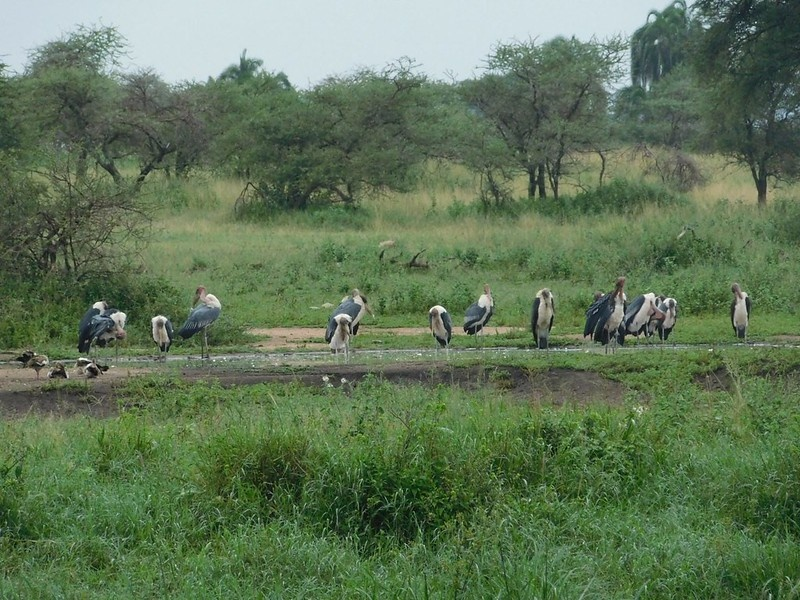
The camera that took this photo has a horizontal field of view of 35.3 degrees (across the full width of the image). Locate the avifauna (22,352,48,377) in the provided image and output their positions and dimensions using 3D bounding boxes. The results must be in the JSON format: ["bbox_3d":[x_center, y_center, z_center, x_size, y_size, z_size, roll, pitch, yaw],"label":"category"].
[{"bbox_3d":[-8.533,1.526,29.365,0.551,0.564,1.207,0,1,-18],"label":"avifauna"}]

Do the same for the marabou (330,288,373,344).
[{"bbox_3d":[-1.356,0.487,31.503,0.531,1.017,2.211,9,18,27],"label":"marabou"}]

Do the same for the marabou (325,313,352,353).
[{"bbox_3d":[-1.476,0.861,30.563,0.584,1.011,1.084,1,1,-2],"label":"marabou"}]

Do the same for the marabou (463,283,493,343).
[{"bbox_3d":[2.019,0.297,32.352,0.731,1.356,1.429,1,1,3],"label":"marabou"}]

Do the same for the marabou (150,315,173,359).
[{"bbox_3d":[-5.863,0.937,31.007,0.453,1.043,1.039,0,1,-10],"label":"marabou"}]

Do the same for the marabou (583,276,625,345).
[{"bbox_3d":[5.171,0.327,31.615,0.697,1.716,1.153,0,1,-31],"label":"marabou"}]

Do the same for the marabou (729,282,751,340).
[{"bbox_3d":[8.847,0.332,32.663,0.454,1.421,1.306,1,1,15],"label":"marabou"}]

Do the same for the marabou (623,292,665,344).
[{"bbox_3d":[6.092,0.292,31.578,1.085,0.960,0.688,10,6,28],"label":"marabou"}]
